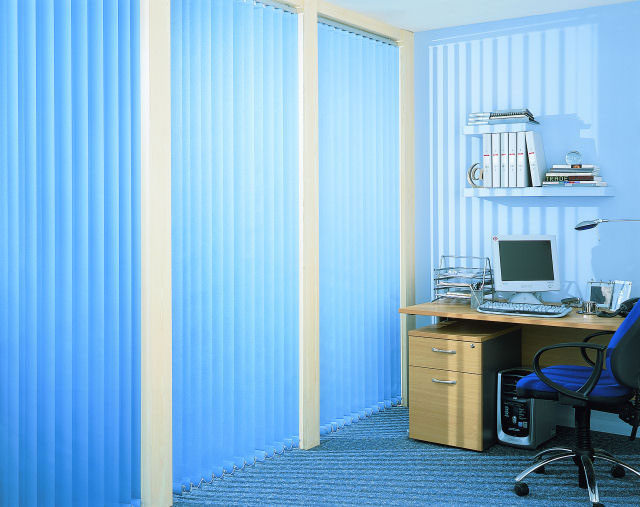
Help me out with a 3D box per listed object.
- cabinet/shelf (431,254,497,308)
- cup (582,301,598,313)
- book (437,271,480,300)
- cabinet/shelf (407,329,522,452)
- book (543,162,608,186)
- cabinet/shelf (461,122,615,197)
[{"bbox_3d":[1.122,0.208,5.048,0.395,0.349,0.371,3,7,41],"label":"cabinet/shelf"},{"bbox_3d":[1.808,0.366,4.437,0.073,0.069,0.095,0,-4,15],"label":"cup"},{"bbox_3d":[1.036,0.253,4.943,0.358,0.230,0.509,1,7,10],"label":"book"},{"bbox_3d":[1.013,0.911,4.744,0.596,0.780,0.630,4,8,33],"label":"cabinet/shelf"},{"bbox_3d":[1.794,-0.546,4.684,0.398,0.145,0.104,2,7,19],"label":"book"},{"bbox_3d":[1.574,-0.700,4.871,1.012,0.596,0.339,2,7,22],"label":"cabinet/shelf"}]
